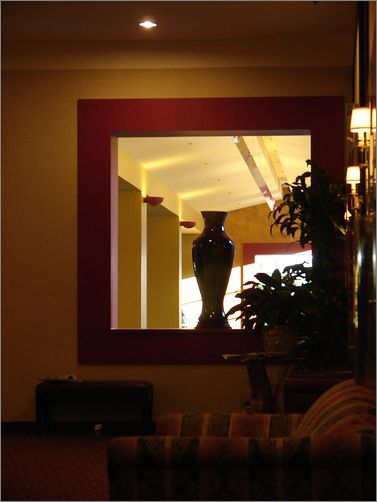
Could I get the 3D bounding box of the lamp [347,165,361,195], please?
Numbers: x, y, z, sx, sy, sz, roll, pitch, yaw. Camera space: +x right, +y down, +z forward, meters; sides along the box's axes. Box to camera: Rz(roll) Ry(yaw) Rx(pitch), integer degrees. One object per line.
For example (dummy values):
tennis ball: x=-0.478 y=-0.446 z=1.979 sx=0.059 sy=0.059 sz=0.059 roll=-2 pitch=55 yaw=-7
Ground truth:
lamp: x=0.791 y=-0.341 z=2.705 sx=0.061 sy=0.160 sz=0.191 roll=-4 pitch=-5 yaw=17

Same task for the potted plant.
potted plant: x=0.620 y=0.362 z=3.798 sx=0.552 sy=0.435 sz=0.556 roll=-1 pitch=-4 yaw=-15

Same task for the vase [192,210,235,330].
vase: x=0.234 y=0.172 z=5.114 sx=0.376 sy=1.054 sz=0.201 roll=-3 pitch=-4 yaw=2
